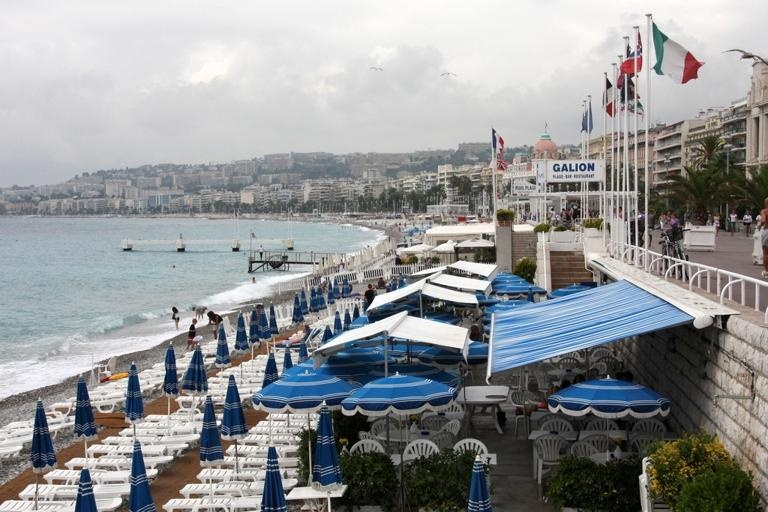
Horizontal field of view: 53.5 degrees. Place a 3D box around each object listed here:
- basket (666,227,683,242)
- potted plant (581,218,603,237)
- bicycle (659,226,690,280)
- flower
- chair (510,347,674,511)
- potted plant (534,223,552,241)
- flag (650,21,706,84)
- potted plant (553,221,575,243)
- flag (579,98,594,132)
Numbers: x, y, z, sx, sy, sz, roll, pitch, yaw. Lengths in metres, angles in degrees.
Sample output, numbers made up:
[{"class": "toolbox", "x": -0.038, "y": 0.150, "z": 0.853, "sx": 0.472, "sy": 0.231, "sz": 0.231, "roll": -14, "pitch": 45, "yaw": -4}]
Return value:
[{"class": "basket", "x": 7.948, "y": -0.590, "z": 21.048, "sx": 0.371, "sy": 0.281, "sz": 0.088, "roll": -7, "pitch": 12, "yaw": -31}, {"class": "potted plant", "x": 8.203, "y": -1.108, "z": 30.329, "sx": 0.820, "sy": 0.884, "sz": 1.104, "roll": 0, "pitch": 7, "yaw": 12}, {"class": "bicycle", "x": 7.873, "y": -0.339, "z": 21.189, "sx": 0.633, "sy": 0.893, "sz": 1.511, "roll": 7, "pitch": 38, "yaw": 23}, {"class": "flower", "x": 5.122, "y": 3.709, "z": 12.950, "sx": 1.260, "sy": 1.179, "sz": 1.052, "roll": -3, "pitch": 8, "yaw": 6}, {"class": "chair", "x": 4.194, "y": 3.504, "z": 14.934, "sx": 2.099, "sy": 1.612, "sz": 2.268, "roll": -1, "pitch": 4, "yaw": -4}, {"class": "potted plant", "x": 7.035, "y": -1.025, "z": 33.824, "sx": 0.770, "sy": 0.882, "sz": 0.709, "roll": 0, "pitch": 2, "yaw": 1}, {"class": "flag", "x": 7.546, "y": -5.242, "z": 19.747, "sx": 1.275, "sy": 1.598, "sz": 0.286, "roll": 15, "pitch": 50, "yaw": 34}, {"class": "potted plant", "x": 8.220, "y": -1.089, "z": 35.123, "sx": 1.049, "sy": 1.161, "sz": 1.148, "roll": -1, "pitch": 5, "yaw": -7}, {"class": "flag", "x": 10.427, "y": -7.065, "z": 39.431, "sx": 0.357, "sy": 1.491, "sz": 1.170, "roll": -3, "pitch": 8, "yaw": 8}]
